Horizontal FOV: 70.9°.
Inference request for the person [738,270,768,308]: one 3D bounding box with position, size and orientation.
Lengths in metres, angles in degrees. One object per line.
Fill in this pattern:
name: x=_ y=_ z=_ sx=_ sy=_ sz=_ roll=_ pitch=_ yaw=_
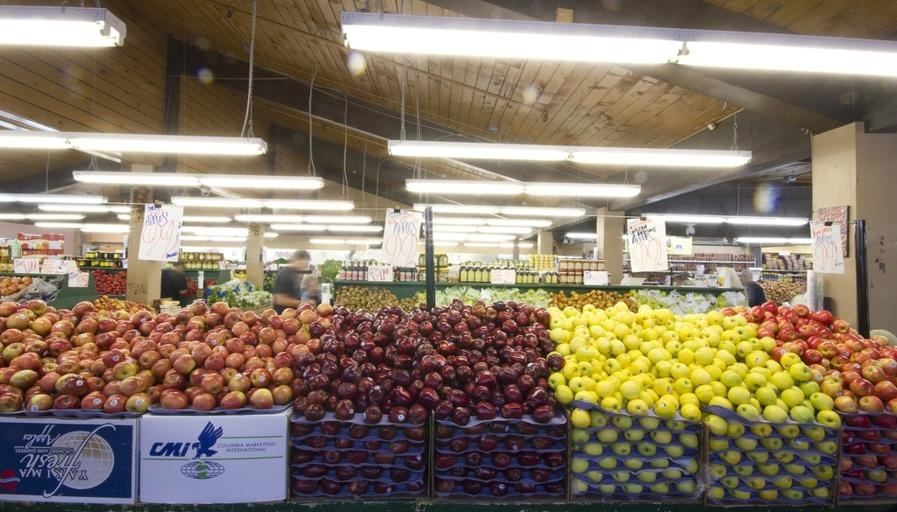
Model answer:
person: x=5.976 y=0.662 z=12.387 sx=0.340 sy=1.013 sz=0.660 roll=-9 pitch=-10 yaw=38
